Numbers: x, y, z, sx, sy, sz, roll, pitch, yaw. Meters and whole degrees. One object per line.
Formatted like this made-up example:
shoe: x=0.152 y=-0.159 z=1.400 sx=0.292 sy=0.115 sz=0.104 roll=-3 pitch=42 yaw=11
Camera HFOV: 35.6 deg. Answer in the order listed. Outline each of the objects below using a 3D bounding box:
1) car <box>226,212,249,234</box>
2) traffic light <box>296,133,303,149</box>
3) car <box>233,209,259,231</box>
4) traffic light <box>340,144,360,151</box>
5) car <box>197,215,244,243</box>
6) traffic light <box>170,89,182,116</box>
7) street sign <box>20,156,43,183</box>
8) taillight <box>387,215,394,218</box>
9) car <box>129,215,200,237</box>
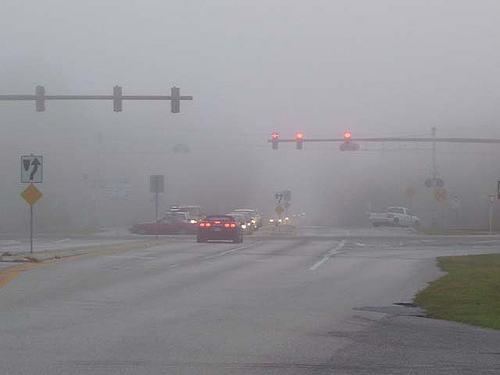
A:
car: x=-0.415 y=2.172 z=46.635 sx=1.460 sy=1.105 sz=2.482 roll=1 pitch=2 yaw=18
traffic light: x=2.870 y=-2.709 z=45.441 sx=0.324 sy=0.797 sz=0.575 roll=-2 pitch=-1 yaw=2
car: x=0.229 y=2.107 z=53.975 sx=1.480 sy=1.368 sz=2.454 roll=-1 pitch=-13 yaw=0
traffic light: x=5.605 y=-2.320 z=43.800 sx=1.114 sy=0.372 sz=0.635 roll=-2 pitch=-1 yaw=23
car: x=-1.531 y=1.980 z=38.340 sx=2.052 sy=1.238 sz=0.853 roll=-2 pitch=-1 yaw=11
traffic light: x=-2.653 y=-3.098 z=28.007 sx=0.375 sy=0.804 sz=0.340 roll=-2 pitch=0 yaw=-5
street sign: x=-8.731 y=-0.781 z=31.020 sx=0.799 sy=0.893 sz=0.605 roll=-2 pitch=-1 yaw=-10
taillight: x=11.321 y=2.206 z=62.451 sx=0.575 sy=0.195 sz=0.137 roll=-1 pitch=-1 yaw=-35
car: x=-5.307 y=2.424 z=48.998 sx=4.792 sy=1.377 sz=2.147 roll=2 pitch=-4 yaw=5
